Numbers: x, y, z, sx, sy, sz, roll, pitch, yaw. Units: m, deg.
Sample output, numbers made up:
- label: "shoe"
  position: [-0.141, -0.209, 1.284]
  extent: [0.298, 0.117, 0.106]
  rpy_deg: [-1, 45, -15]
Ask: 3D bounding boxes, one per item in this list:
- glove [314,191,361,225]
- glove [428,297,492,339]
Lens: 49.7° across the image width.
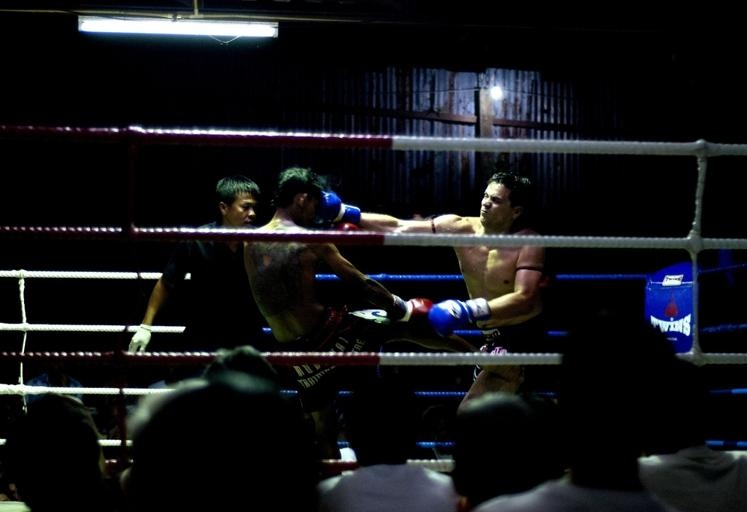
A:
- label: "glove"
  position: [-0.247, -0.306, 5.471]
  extent: [0.287, 0.102, 0.229]
  rpy_deg: [11, 13, -34]
- label: "glove"
  position: [0.474, 0.358, 4.915]
  extent: [0.459, 0.170, 0.300]
  rpy_deg: [-8, 0, -10]
